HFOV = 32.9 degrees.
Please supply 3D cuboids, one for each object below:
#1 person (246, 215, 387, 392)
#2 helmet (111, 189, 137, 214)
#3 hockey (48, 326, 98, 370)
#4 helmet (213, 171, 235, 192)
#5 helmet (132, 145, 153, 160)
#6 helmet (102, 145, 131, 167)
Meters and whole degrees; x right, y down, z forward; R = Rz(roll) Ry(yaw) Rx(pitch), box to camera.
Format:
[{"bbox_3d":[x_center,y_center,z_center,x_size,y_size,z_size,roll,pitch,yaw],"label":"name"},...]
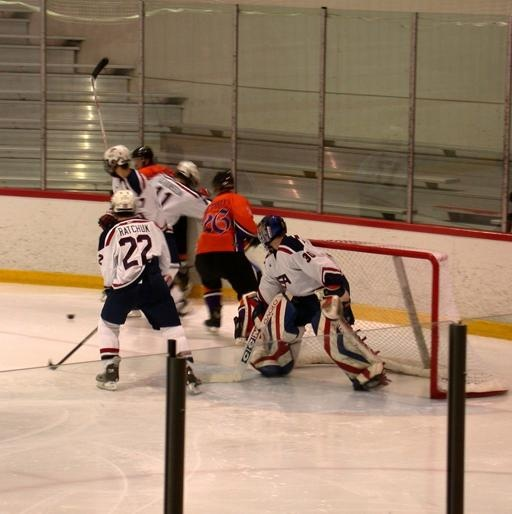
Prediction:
[{"bbox_3d":[0.279,0.196,4.071,0.322,0.684,0.736,25,-51,-32],"label":"person"},{"bbox_3d":[-0.734,-0.317,4.835,0.131,0.117,0.146,0,-11,-8],"label":"helmet"},{"bbox_3d":[-1.076,0.534,5.092,0.497,0.126,0.035,-33,-62,20],"label":"hockey"},{"bbox_3d":[-0.254,-0.569,6.489,0.154,0.144,0.189,-10,12,-41],"label":"helmet"},{"bbox_3d":[-0.918,-0.862,7.031,0.177,0.122,0.126,8,-6,-6],"label":"helmet"},{"bbox_3d":[-0.996,-0.727,6.230,0.169,0.112,0.184,-8,12,-19],"label":"helmet"}]
